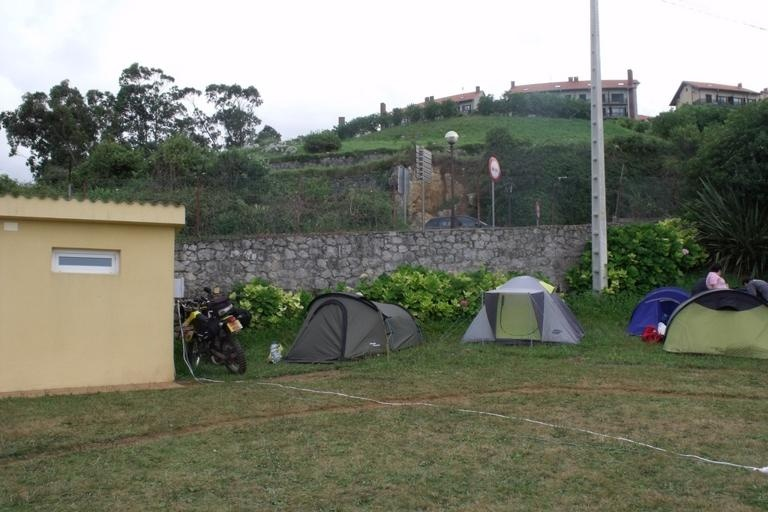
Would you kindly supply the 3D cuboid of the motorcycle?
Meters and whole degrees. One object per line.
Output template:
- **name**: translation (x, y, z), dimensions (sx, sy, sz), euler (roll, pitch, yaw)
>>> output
- **motorcycle**: translation (-3.870, 1.628, 17.550), dimensions (1.727, 1.822, 0.845), euler (3, 14, 15)

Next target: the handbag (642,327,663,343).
- **handbag**: translation (6.632, 1.971, 19.424), dimensions (0.380, 0.155, 0.321), euler (-4, 2, -29)

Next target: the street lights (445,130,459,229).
- **street lights**: translation (2.608, -2.768, 29.361), dimensions (0.722, 3.817, 0.733), euler (5, 16, 20)

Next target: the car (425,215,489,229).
- **car**: translation (2.731, -1.337, 31.233), dimensions (1.888, 0.675, 1.066), euler (-1, 2, 14)

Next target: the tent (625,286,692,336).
- **tent**: translation (6.980, 1.563, 20.151), dimensions (1.263, 0.657, 1.388), euler (-6, -2, 10)
